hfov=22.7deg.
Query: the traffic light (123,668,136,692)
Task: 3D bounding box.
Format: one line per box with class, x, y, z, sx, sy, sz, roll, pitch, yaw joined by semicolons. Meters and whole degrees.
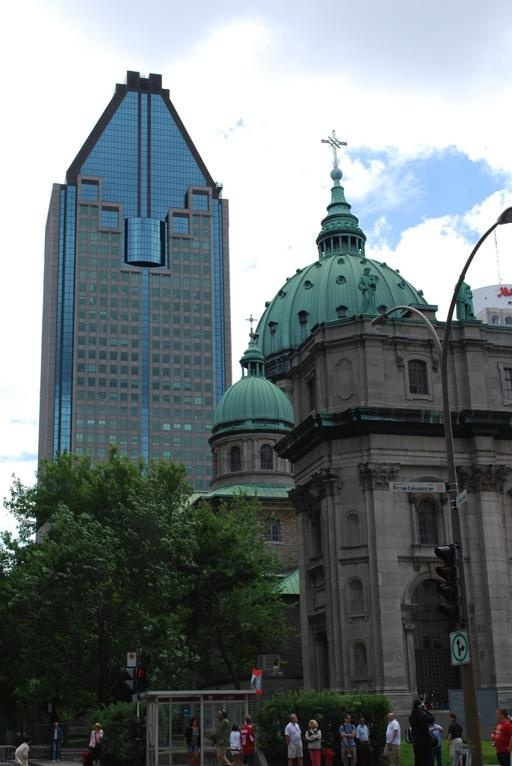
traffic light;-3.990;9.751;41.439;0.331;0.849;1.189;-1;-16;-10
